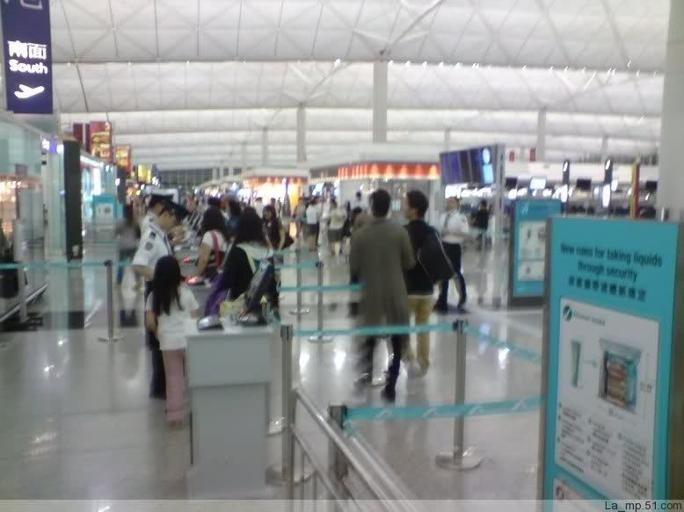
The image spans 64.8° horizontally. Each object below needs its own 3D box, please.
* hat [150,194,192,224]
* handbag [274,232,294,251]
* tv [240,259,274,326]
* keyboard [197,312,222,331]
[{"bbox_3d":[-2.014,-0.614,6.242,0.386,0.225,0.296,18,-14,-7],"label":"hat"},{"bbox_3d":[-1.503,-0.385,13.801,0.271,0.367,0.776,27,2,-4],"label":"handbag"},{"bbox_3d":[-0.768,0.297,4.741,0.082,0.514,0.618,26,-9,-9],"label":"tv"},{"bbox_3d":[-1.021,0.494,4.144,0.158,0.059,0.125,0,11,-7],"label":"keyboard"}]
